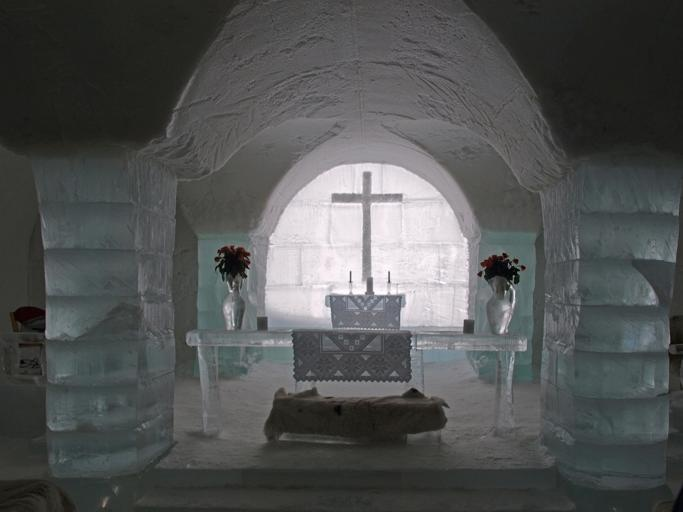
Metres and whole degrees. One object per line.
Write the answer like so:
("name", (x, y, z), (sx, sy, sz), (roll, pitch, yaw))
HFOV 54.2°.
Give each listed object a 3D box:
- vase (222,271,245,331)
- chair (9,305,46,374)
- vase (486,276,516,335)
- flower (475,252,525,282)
("vase", (-0.863, 0.394, 5.320), (0.160, 0.452, 0.548), (-2, 14, -10))
("chair", (-2.335, 0.630, 5.021), (0.236, 0.384, 0.530), (-6, 15, -25))
("vase", (1.214, 0.395, 5.175), (0.200, 0.433, 0.409), (3, 14, 12))
("flower", (1.271, 0.077, 5.379), (0.334, 0.254, 0.355), (3, 14, 11))
